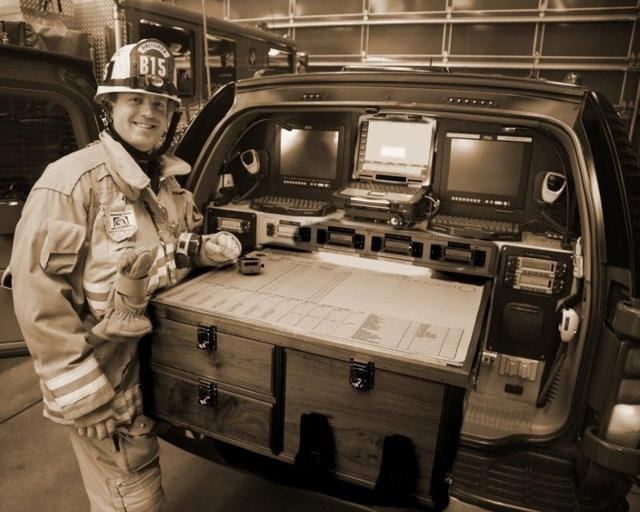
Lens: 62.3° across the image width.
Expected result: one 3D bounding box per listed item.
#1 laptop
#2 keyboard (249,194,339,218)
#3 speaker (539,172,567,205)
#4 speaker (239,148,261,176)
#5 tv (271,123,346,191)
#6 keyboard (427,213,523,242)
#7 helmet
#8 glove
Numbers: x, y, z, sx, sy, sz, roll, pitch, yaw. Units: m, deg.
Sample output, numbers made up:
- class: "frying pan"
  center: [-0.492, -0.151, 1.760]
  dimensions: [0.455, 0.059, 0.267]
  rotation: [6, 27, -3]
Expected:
- class: "laptop"
  center: [0.397, -0.560, 3.102]
  dimensions: [0.518, 0.510, 0.500]
  rotation: [7, 20, 18]
- class: "keyboard"
  center: [-0.166, -0.323, 3.321]
  dimensions: [0.531, 0.081, 0.476]
  rotation: [8, 13, 8]
- class: "speaker"
  center: [1.304, -0.373, 2.948]
  dimensions: [0.137, 0.177, 0.109]
  rotation: [9, 13, 18]
- class: "speaker"
  center: [-0.461, -0.634, 3.511]
  dimensions: [0.130, 0.193, 0.100]
  rotation: [-12, 3, 37]
- class: "tv"
  center: [-0.061, -0.650, 3.440]
  dimensions: [0.427, 0.422, 0.118]
  rotation: [6, 13, 22]
- class: "keyboard"
  center: [0.868, -0.160, 2.952]
  dimensions: [0.496, 0.060, 0.479]
  rotation: [11, 14, 19]
- class: "helmet"
  center: [-0.863, -0.869, 2.499]
  dimensions: [0.346, 0.263, 0.394]
  rotation: [-4, 8, -35]
- class: "glove"
  center: [-0.870, 0.154, 2.309]
  dimensions: [0.265, 0.394, 0.231]
  rotation: [-11, 39, -39]
